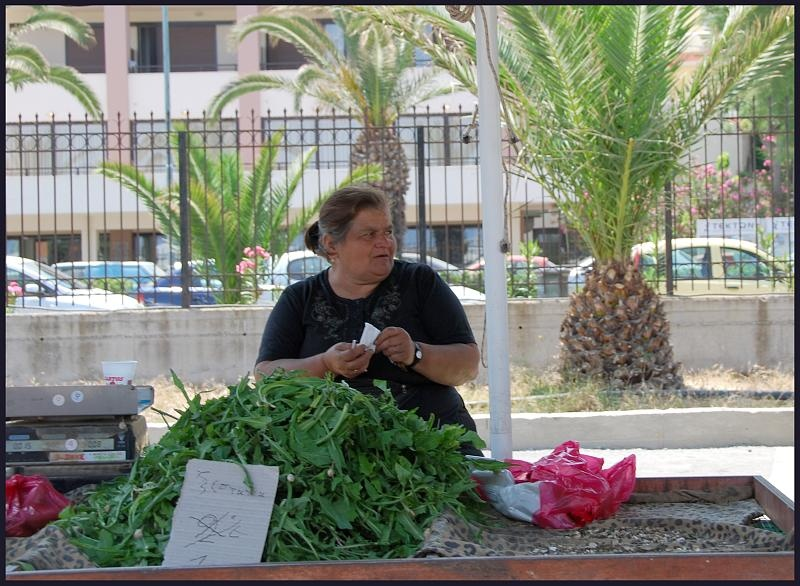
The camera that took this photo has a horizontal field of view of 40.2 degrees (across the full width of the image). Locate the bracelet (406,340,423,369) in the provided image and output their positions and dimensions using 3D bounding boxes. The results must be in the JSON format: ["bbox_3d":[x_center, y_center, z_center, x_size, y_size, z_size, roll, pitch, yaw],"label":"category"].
[{"bbox_3d":[0.063,0.380,6.869,0.103,0.153,0.144,9,-21,-33],"label":"bracelet"}]

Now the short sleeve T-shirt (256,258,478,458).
[{"bbox_3d":[-0.181,0.495,7.228,1.531,1.458,0.849,-8,-11,5],"label":"short sleeve T-shirt"}]

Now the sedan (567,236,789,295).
[{"bbox_3d":[3.867,-0.351,13.488,1.873,0.710,5.085,-2,2,12],"label":"sedan"}]

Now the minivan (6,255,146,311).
[{"bbox_3d":[-4.094,-0.122,13.482,1.407,0.640,3.511,-3,2,-20],"label":"minivan"}]

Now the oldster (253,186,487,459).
[{"bbox_3d":[-0.293,0.264,7.627,1.865,2.336,1.604,-1,-9,-14],"label":"oldster"}]

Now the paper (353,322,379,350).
[{"bbox_3d":[-0.197,0.273,6.861,0.147,0.143,0.056,30,-4,-16],"label":"paper"}]

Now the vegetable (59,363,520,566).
[{"bbox_3d":[-0.687,0.982,6.076,1.396,0.504,1.369,0,10,3],"label":"vegetable"}]

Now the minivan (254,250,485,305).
[{"bbox_3d":[-0.482,-0.267,14.460,2.495,0.811,1.145,-1,2,-4],"label":"minivan"}]
